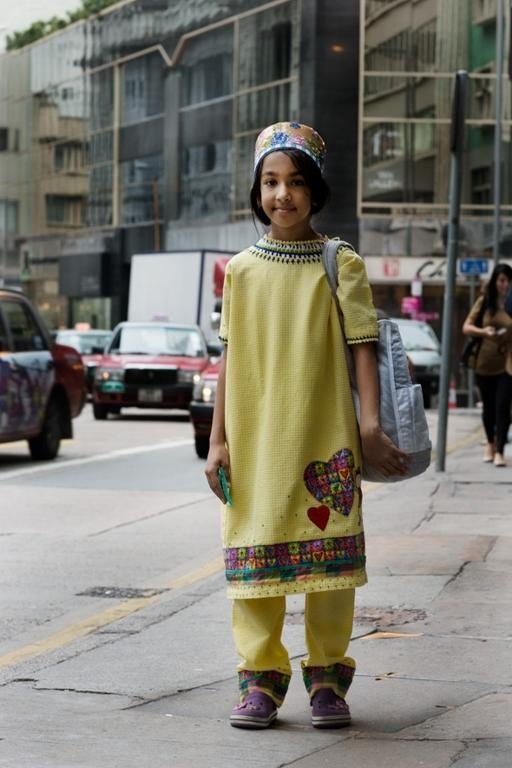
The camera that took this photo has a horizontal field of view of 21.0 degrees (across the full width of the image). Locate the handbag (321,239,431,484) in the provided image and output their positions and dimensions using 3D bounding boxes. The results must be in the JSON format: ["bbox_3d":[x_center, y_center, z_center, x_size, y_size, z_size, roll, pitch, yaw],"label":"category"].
[{"bbox_3d":[0.334,-0.064,3.842,0.292,0.693,0.224,0,3,14],"label":"handbag"}]

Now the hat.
[{"bbox_3d":[0.111,-0.665,3.944,0.190,0.122,0.185,2,-14,-13],"label":"hat"}]
